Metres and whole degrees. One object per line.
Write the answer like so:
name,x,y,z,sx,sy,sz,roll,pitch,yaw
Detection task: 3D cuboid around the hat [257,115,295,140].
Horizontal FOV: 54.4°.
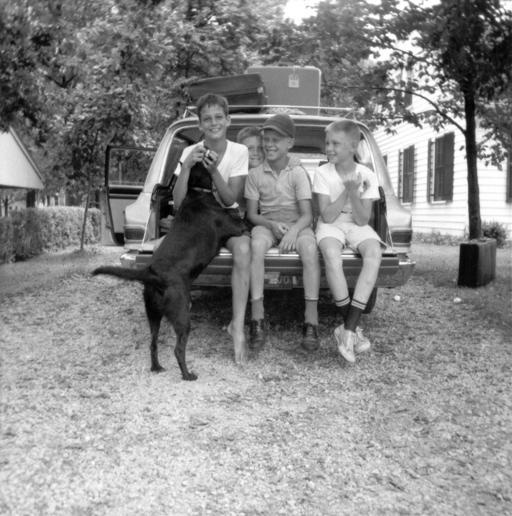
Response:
hat,0.159,-0.967,3.621,0.164,0.182,0.261,7,9,37

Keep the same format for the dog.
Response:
dog,-0.462,0.062,3.129,0.419,1.336,1.045,5,8,28

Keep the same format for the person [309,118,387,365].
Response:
person,0.635,-0.124,3.448,0.499,1.667,0.798,2,7,7

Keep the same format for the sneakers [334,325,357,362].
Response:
sneakers,0.571,0.550,3.213,0.132,0.224,0.164,2,7,11

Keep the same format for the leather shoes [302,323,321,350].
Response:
leather shoes,0.364,0.547,3.381,0.123,0.221,0.128,-2,8,-26
